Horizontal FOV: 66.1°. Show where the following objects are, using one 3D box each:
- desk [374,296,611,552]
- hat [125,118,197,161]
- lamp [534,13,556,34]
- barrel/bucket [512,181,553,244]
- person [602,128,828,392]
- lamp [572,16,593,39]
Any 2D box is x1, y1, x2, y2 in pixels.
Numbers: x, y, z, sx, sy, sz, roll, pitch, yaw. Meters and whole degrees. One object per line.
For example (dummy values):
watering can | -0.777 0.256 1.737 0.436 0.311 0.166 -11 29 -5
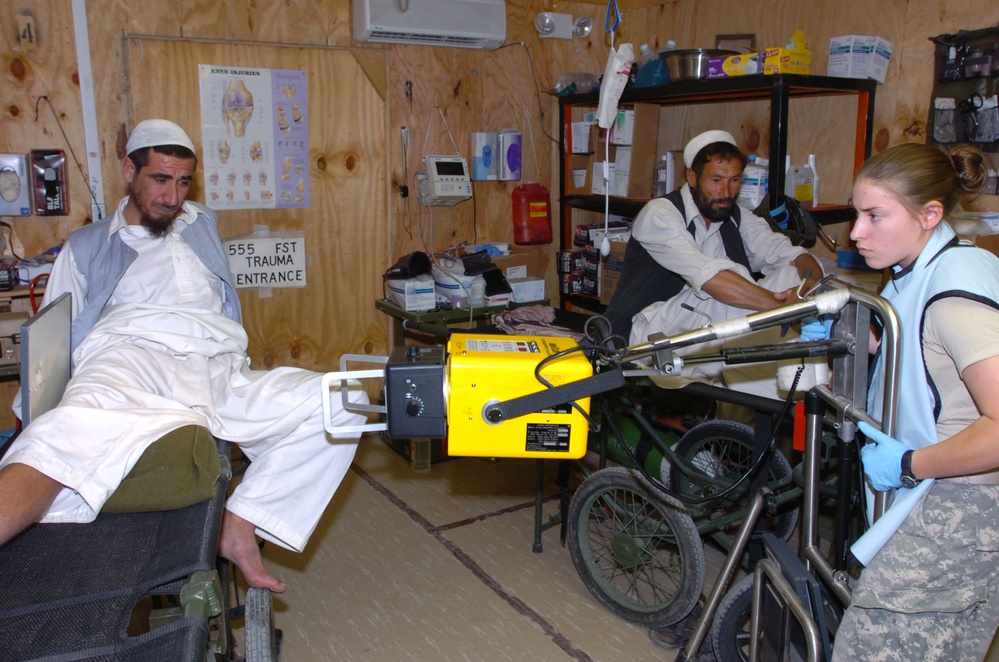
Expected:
desk | -0.082 0.595 4.474 1.185 1.457 1.492 -4 6 -35
hat | -1.529 -0.903 3.497 0.212 0.139 0.219 -1 19 -10
lamp | 0.326 -2.135 5.330 0.142 0.131 0.056 -5 13 -18
barrel/bucket | 0.236 -0.850 5.541 0.286 0.467 0.301 -2 3 0
person | 1.152 -0.286 4.033 0.837 1.470 1.240 -14 19 -34
lamp | 0.589 -2.146 5.429 0.137 0.140 0.129 -1 7 -5
